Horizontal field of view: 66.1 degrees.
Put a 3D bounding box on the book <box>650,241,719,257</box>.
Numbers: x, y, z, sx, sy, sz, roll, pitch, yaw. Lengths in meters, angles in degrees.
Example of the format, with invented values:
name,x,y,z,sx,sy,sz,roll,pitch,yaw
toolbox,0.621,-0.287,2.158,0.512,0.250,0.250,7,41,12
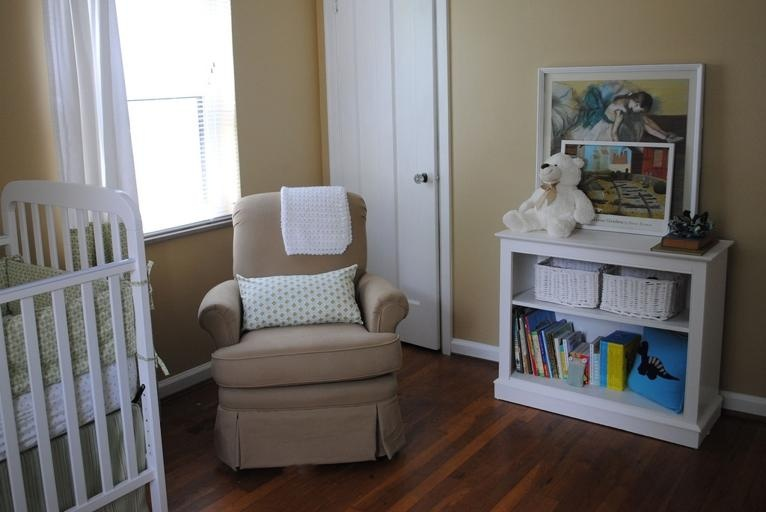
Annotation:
name,x,y,z,sx,sy,sz,roll,pitch,yaw
book,1.596,-0.038,3.046,0.416,0.031,0.172,-5,18,-9

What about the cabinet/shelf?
name,x,y,z,sx,sy,sz,roll,pitch,yaw
cabinet/shelf,1.277,0.403,3.431,1.128,1.051,0.470,8,16,36

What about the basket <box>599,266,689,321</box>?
name,x,y,z,sx,sy,sz,roll,pitch,yaw
basket,1.445,0.135,3.329,0.440,0.253,0.354,0,30,22

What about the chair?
name,x,y,z,sx,sy,sz,roll,pitch,yaw
chair,-0.454,0.372,3.626,1.161,1.449,1.503,-3,10,-5

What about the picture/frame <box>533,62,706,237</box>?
name,x,y,z,sx,sy,sz,roll,pitch,yaw
picture/frame,1.372,-0.583,3.317,0.888,0.906,0.066,7,11,33

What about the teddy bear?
name,x,y,z,sx,sy,sz,roll,pitch,yaw
teddy bear,0.995,-0.367,3.472,0.400,0.477,0.483,-8,12,-36
